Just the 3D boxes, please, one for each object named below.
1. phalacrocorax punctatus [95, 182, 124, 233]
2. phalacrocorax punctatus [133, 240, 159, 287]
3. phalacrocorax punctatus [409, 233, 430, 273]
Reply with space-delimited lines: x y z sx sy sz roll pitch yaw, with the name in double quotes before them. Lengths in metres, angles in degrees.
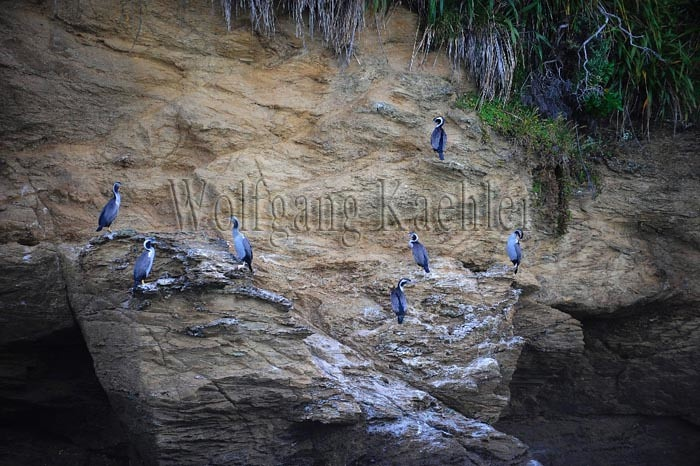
"phalacrocorax punctatus" -3.918 -0.413 17.717 0.397 0.772 0.703 0 10 -12
"phalacrocorax punctatus" -3.187 0.465 16.899 0.341 0.710 0.458 1 10 -7
"phalacrocorax punctatus" 1.163 0.348 18.163 0.363 0.610 0.579 2 10 3
